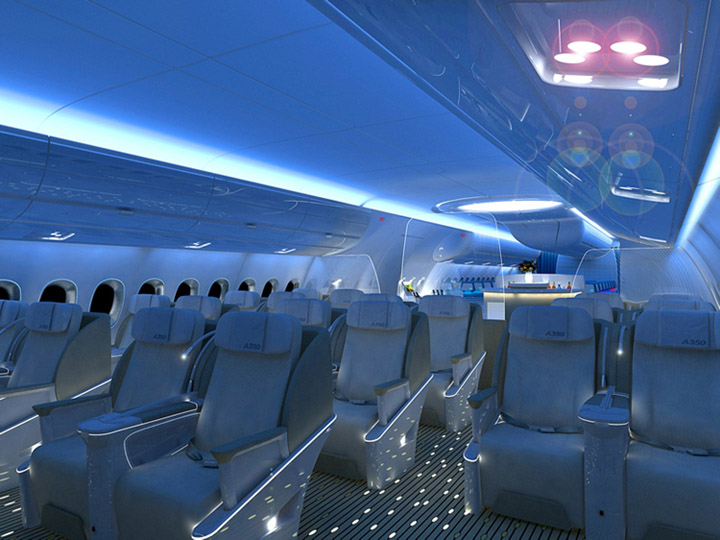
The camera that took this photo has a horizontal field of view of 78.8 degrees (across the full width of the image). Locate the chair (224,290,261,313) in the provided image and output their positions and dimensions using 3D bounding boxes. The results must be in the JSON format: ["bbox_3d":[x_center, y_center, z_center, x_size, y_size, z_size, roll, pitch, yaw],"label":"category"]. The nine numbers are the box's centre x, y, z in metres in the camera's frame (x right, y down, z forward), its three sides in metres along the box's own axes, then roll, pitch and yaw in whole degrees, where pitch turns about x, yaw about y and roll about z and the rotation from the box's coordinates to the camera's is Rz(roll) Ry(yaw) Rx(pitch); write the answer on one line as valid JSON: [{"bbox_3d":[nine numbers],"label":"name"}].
[{"bbox_3d":[-2.248,0.528,8.013,0.512,0.487,0.485,2,0,8],"label":"chair"}]

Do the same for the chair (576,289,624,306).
[{"bbox_3d":[3.878,0.419,6.980,0.298,0.294,0.239,-11,-11,43],"label":"chair"}]

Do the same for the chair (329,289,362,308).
[{"bbox_3d":[-0.302,0.512,8.466,0.459,0.454,0.410,-1,-3,16],"label":"chair"}]

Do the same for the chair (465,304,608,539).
[{"bbox_3d":[1.490,1.159,3.788,0.962,1.672,0.872,0,2,29],"label":"chair"}]

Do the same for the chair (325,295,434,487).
[{"bbox_3d":[0.162,1.199,4.646,0.980,1.683,1.136,0,2,19],"label":"chair"}]

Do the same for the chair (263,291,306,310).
[{"bbox_3d":[-1.333,0.502,7.939,0.545,0.524,0.483,2,-7,14],"label":"chair"}]
